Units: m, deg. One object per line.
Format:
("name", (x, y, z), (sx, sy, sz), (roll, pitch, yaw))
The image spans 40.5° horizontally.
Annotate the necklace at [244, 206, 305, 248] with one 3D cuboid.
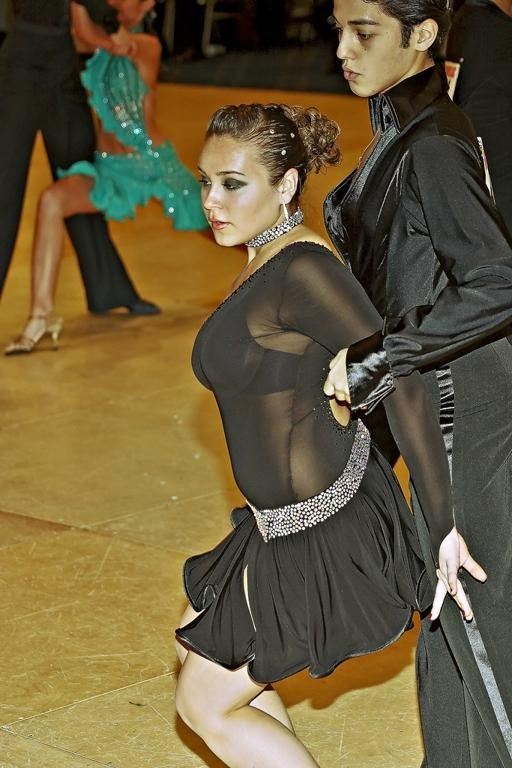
("necklace", (0.035, -0.261, 1.166), (0.073, 0.017, 0.064), (-26, 4, 42))
